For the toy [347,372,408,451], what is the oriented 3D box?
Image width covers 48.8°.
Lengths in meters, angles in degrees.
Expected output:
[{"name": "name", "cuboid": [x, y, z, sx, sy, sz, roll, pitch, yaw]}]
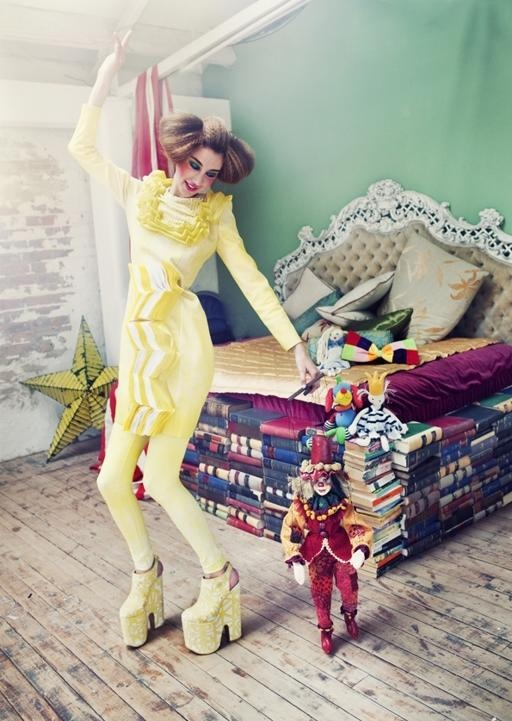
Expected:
[{"name": "toy", "cuboid": [0.469, 0.197, 2.188, 0.271, 0.300, 0.131, -10, 9, -41]}]

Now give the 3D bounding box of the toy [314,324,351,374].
[{"name": "toy", "cuboid": [0.369, -0.045, 2.829, 0.180, 0.092, 0.220, -1, 59, 19]}]

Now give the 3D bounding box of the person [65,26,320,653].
[{"name": "person", "cuboid": [-0.194, 0.021, 1.729, 0.641, 1.836, 0.318, -6, 7, -10]}]
